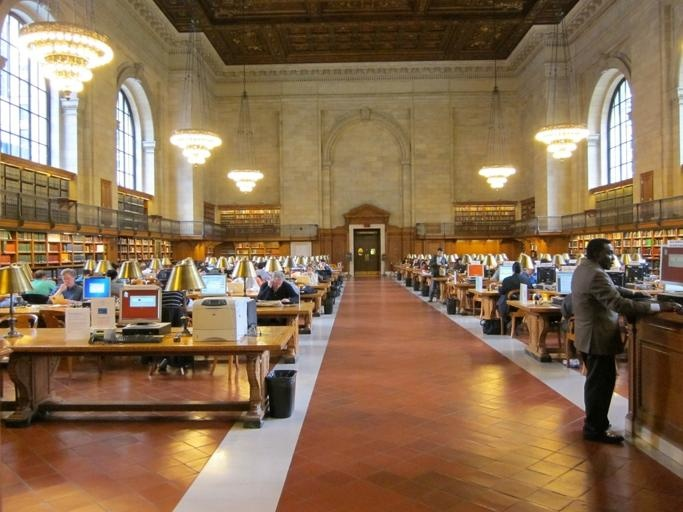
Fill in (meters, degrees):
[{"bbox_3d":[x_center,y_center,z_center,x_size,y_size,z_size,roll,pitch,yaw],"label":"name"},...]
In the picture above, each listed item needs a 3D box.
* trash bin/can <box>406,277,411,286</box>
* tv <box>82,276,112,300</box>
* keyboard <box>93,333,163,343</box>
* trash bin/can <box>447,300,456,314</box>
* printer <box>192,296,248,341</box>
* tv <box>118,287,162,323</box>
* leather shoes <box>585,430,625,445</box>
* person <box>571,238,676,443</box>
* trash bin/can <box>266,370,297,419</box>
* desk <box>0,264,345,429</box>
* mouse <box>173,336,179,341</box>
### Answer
[{"bbox_3d":[2.425,0.961,20.219,0.210,0.368,0.240,-2,-1,10],"label":"trash bin/can"},{"bbox_3d":[-3.672,0.487,8.234,0.324,0.322,0.181,1,-1,-7],"label":"tv"},{"bbox_3d":[-2.146,0.805,5.466,0.697,0.105,0.100,-1,6,-6],"label":"keyboard"},{"bbox_3d":[2.370,1.113,12.024,0.270,0.316,0.244,0,-4,-1],"label":"trash bin/can"},{"bbox_3d":[-1.234,0.638,5.624,0.423,0.347,0.451,-1,-7,1],"label":"printer"},{"bbox_3d":[-2.118,0.513,5.783,0.368,0.341,0.134,0,-4,0],"label":"tv"},{"bbox_3d":[2.383,1.662,5.037,0.339,0.139,0.117,-1,-2,14],"label":"leather shoes"},{"bbox_3d":[2.495,0.766,5.136,0.834,1.825,0.574,5,8,42],"label":"person"},{"bbox_3d":[-0.630,1.502,5.780,0.295,0.369,0.502,-2,-19,-4],"label":"trash bin/can"},{"bbox_3d":[-2.052,0.974,6.083,2.948,1.226,1.693,0,6,0],"label":"desk"},{"bbox_3d":[-1.687,0.840,5.614,0.044,0.029,0.045,0,2,0],"label":"mouse"}]
